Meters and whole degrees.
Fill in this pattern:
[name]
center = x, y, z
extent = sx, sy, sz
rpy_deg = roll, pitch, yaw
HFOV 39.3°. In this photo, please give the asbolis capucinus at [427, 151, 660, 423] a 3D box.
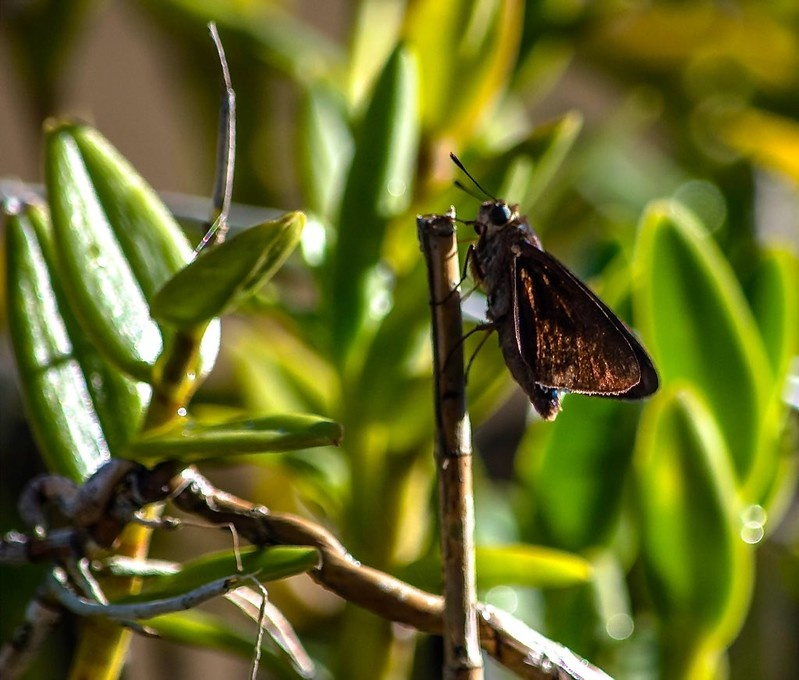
[asbolis capucinus]
center = 0.109, -0.029, 0.815
extent = 0.157, 0.173, 0.129
rpy_deg = 7, -4, 1
